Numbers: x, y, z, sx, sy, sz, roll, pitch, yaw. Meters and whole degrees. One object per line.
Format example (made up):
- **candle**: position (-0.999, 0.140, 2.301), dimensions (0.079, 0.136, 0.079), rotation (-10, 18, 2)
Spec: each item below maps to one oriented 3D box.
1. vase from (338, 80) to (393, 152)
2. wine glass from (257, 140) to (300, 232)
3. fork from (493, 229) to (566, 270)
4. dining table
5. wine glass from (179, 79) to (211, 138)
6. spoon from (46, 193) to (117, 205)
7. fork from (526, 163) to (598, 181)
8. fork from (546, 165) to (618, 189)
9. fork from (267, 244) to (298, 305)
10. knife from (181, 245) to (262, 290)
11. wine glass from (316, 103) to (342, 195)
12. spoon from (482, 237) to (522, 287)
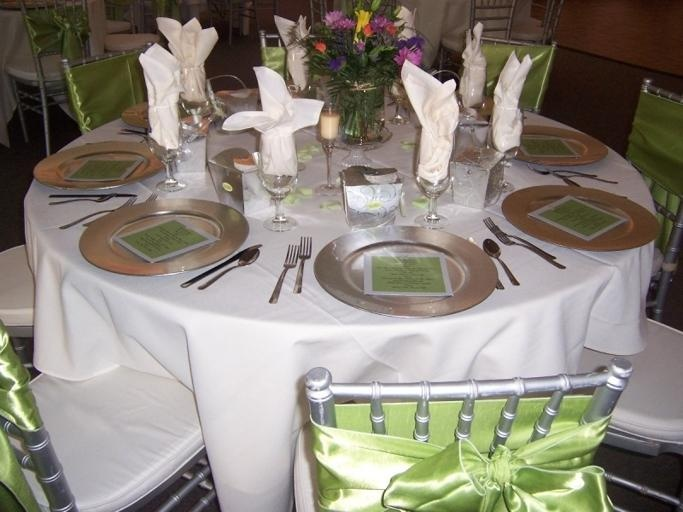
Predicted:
- **vase**: position (0.073, -0.487, 1.705), dimensions (0.187, 0.229, 0.191), rotation (29, 53, 32)
- **wine glass**: position (-0.188, -0.197, 1.390), dimensions (0.098, 0.284, 0.115), rotation (-5, 41, -10)
- **fork**: position (0.508, -0.014, 1.303), dimensions (0.019, 0.017, 0.142), rotation (-33, 62, -21)
- **dining table**: position (-0.143, 0.215, 1.362), dimensions (0.946, 0.614, 1.043), rotation (2, 46, 0)
- **wine glass**: position (-0.567, -0.549, 1.857), dimensions (0.112, 0.102, 0.400), rotation (2, 42, -11)
- **spoon**: position (-0.822, -0.180, 1.525), dimensions (0.152, 0.024, 0.023), rotation (-4, 58, -8)
- **fork**: position (0.772, -0.296, 1.703), dimensions (0.220, 0.035, 0.034), rotation (11, 78, 3)
- **fork**: position (0.820, -0.272, 1.669), dimensions (0.170, 0.028, 0.050), rotation (22, 55, 10)
- **fork**: position (-0.145, 0.034, 1.234), dimensions (0.028, 0.030, 0.212), rotation (9, 43, 6)
- **knife**: position (-0.308, 0.032, 1.228), dimensions (0.176, 0.016, 0.032), rotation (-31, 73, -32)
- **wine glass**: position (-0.045, -0.364, 1.647), dimensions (0.108, 0.307, 0.123), rotation (-5, 45, -7)
- **spoon**: position (0.418, 0.007, 1.265), dimensions (0.035, 0.023, 0.159), rotation (-10, 52, -10)
